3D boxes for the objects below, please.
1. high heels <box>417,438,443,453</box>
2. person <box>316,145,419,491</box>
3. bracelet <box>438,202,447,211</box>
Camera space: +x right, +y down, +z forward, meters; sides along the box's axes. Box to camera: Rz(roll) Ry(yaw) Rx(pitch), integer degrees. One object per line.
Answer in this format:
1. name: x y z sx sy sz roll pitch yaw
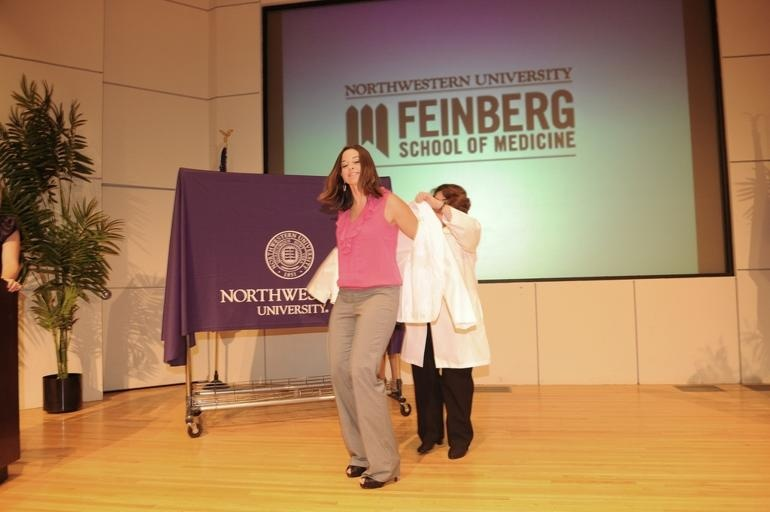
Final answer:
1. high heels: 0.392 1.638 5.548 0.090 0.106 0.253 -17 -17 37
2. person: -0.169 0.455 5.103 0.693 2.618 0.716 -2 9 -2
3. bracelet: 0.478 -0.414 5.402 0.018 0.053 0.053 31 39 -1
